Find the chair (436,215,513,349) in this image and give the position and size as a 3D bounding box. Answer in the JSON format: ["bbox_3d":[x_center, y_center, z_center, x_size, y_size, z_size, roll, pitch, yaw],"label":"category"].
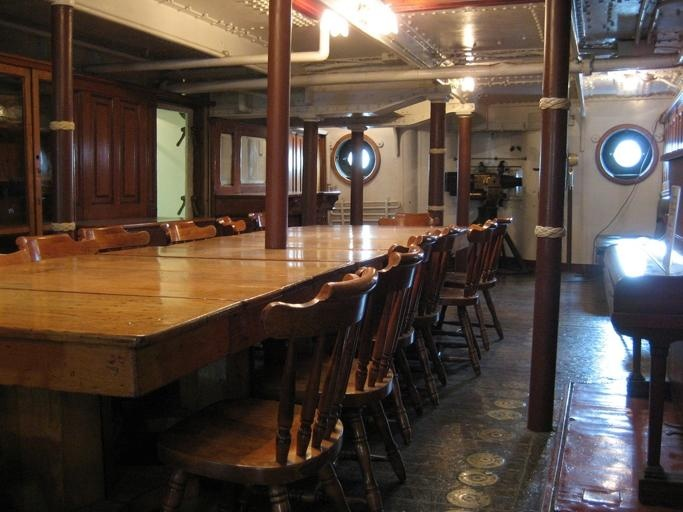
[{"bbox_3d":[1.106,0.196,5.148,0.860,1.148,0.771,6,16,18],"label":"chair"}]
